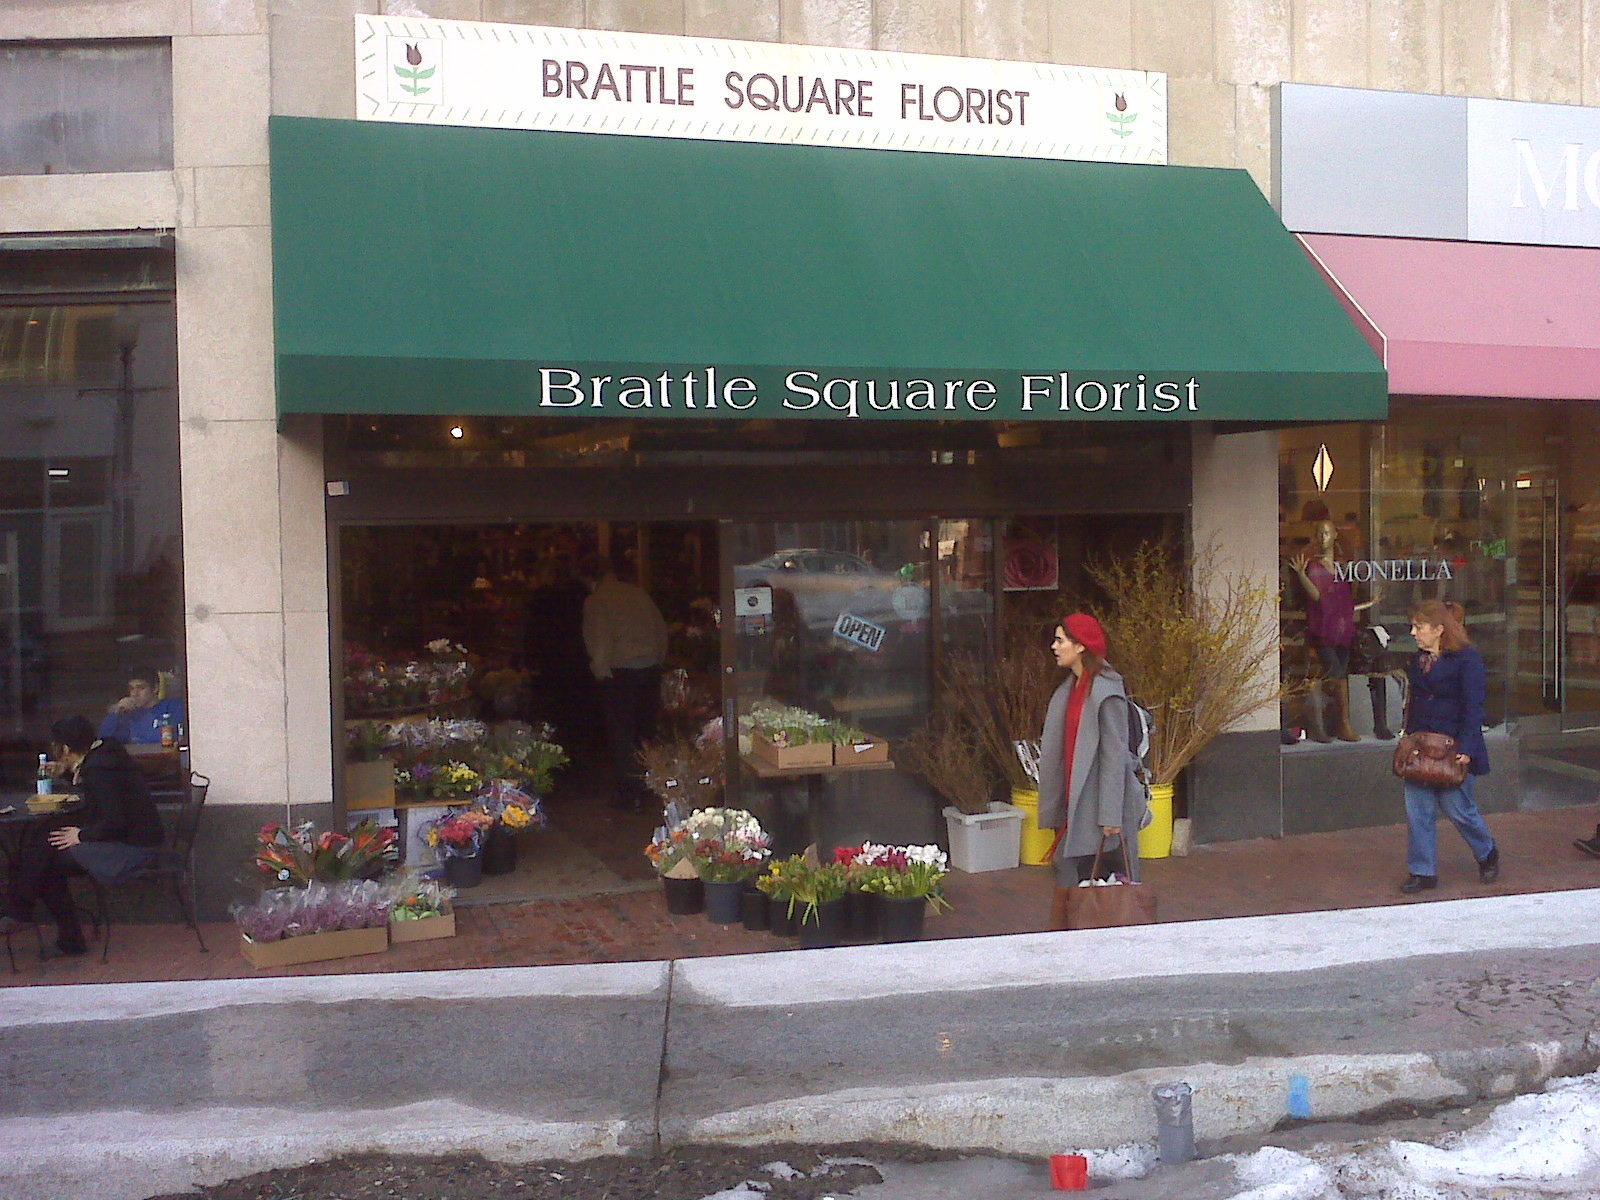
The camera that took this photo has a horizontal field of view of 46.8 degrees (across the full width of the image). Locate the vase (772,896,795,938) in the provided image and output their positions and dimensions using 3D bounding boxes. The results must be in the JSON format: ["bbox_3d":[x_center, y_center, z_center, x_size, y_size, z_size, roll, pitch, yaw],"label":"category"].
[{"bbox_3d":[-0.110,2.139,12.509,0.219,0.237,0.213,0,-2,25],"label":"vase"}]

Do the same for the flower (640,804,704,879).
[{"bbox_3d":[-0.934,1.787,13.623,0.316,0.501,0.410,-26,-23,23],"label":"flower"}]

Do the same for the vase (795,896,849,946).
[{"bbox_3d":[0.169,2.159,12.361,0.343,0.295,0.289,0,-6,-6],"label":"vase"}]

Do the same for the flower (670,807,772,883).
[{"bbox_3d":[-0.568,1.720,13.077,0.490,0.357,0.510,-1,-6,24],"label":"flower"}]

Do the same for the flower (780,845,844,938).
[{"bbox_3d":[0.082,1.937,12.563,0.400,0.458,0.420,-2,-3,8],"label":"flower"}]

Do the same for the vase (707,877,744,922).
[{"bbox_3d":[-0.523,2.092,12.856,0.259,0.211,0.240,-1,-2,3],"label":"vase"}]

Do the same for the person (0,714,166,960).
[{"bbox_3d":[-4.867,1.594,12.454,0.887,1.486,0.725,5,15,21],"label":"person"}]

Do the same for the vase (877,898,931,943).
[{"bbox_3d":[0.696,2.137,12.465,0.289,0.290,0.285,1,-4,-21],"label":"vase"}]

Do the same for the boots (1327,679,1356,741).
[{"bbox_3d":[4.496,0.899,15.427,0.167,0.585,0.227,-2,-1,13],"label":"boots"}]

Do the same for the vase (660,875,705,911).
[{"bbox_3d":[-0.830,2.082,13.176,0.243,0.186,0.242,2,-5,-32],"label":"vase"}]

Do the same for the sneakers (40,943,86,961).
[{"bbox_3d":[-4.924,2.346,12.384,0.269,0.084,0.084,-6,15,-17],"label":"sneakers"}]

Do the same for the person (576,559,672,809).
[{"bbox_3d":[-1.571,0.861,16.364,0.680,1.964,0.817,1,14,6],"label":"person"}]

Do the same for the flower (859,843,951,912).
[{"bbox_3d":[0.730,1.816,12.573,0.476,0.282,0.534,2,6,30],"label":"flower"}]

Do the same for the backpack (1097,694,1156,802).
[{"bbox_3d":[2.164,0.959,12.211,0.488,0.718,0.283,-14,19,-42],"label":"backpack"}]

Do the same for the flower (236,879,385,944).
[{"bbox_3d":[-3.245,2.060,12.402,0.649,0.232,0.456,1,0,-21],"label":"flower"}]

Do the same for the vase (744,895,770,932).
[{"bbox_3d":[-0.302,2.138,12.734,0.201,0.241,0.216,2,7,10],"label":"vase"}]

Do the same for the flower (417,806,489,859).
[{"bbox_3d":[-2.602,1.750,13.967,0.522,0.336,0.380,-4,15,-13],"label":"flower"}]

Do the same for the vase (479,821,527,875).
[{"bbox_3d":[-2.303,1.916,14.383,0.336,0.385,0.327,1,2,-2],"label":"vase"}]

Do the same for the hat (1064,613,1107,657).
[{"bbox_3d":[1.889,0.185,12.322,0.252,0.112,0.292,30,16,-18],"label":"hat"}]

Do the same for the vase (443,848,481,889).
[{"bbox_3d":[-2.526,1.985,13.854,0.284,0.293,0.276,1,6,-8],"label":"vase"}]

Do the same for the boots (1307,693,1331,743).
[{"bbox_3d":[4.309,0.962,15.383,0.132,0.462,0.178,-5,-4,11],"label":"boots"}]

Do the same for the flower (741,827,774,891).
[{"bbox_3d":[-0.345,1.787,13.039,0.256,0.338,0.092,11,-23,-34],"label":"flower"}]

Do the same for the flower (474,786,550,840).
[{"bbox_3d":[-2.208,1.626,14.377,0.388,0.183,0.421,30,7,21],"label":"flower"}]

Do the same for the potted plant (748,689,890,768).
[{"bbox_3d":[0.061,1.017,13.946,1.032,0.466,0.525,-6,16,-19],"label":"potted plant"}]
